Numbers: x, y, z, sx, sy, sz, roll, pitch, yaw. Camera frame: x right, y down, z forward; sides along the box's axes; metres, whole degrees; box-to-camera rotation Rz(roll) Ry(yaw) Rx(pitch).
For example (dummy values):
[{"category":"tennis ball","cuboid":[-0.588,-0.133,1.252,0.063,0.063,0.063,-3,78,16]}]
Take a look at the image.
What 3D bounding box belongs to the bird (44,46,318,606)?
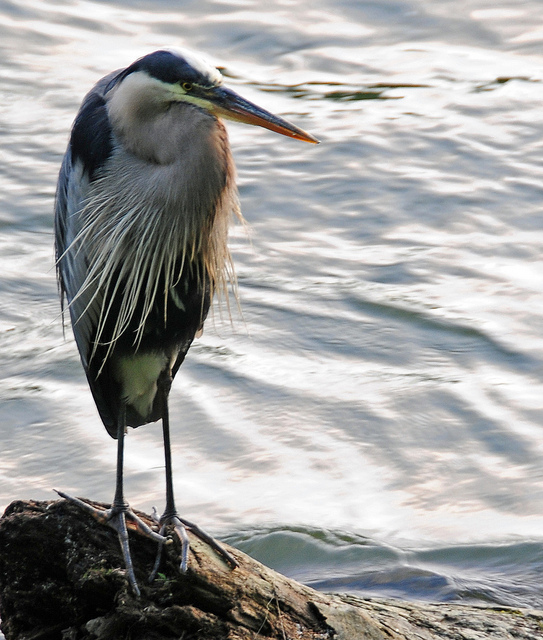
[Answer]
[{"category":"bird","cuboid":[-0.624,-0.021,4.196,0.996,2.310,0.939,12,-7,-5]}]
